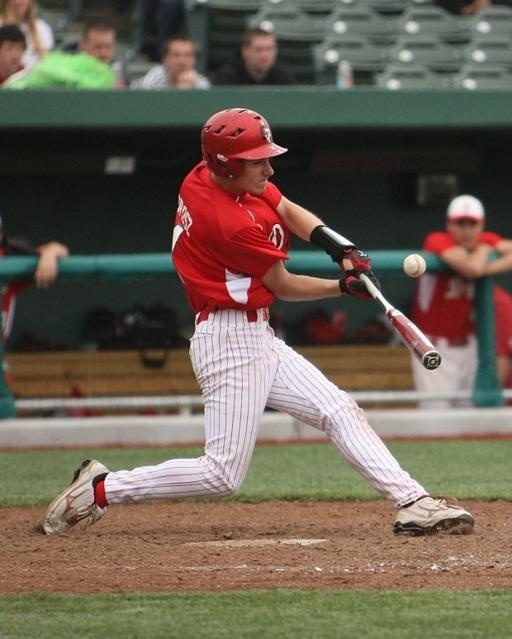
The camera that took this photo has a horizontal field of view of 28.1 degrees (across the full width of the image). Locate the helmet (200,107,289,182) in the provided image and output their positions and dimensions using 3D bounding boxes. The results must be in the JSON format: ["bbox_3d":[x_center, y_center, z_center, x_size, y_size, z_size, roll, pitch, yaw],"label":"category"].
[{"bbox_3d":[-0.055,-0.484,2.780,0.280,0.154,0.187,0,9,14],"label":"helmet"}]

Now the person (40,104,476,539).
[{"bbox_3d":[0.012,0.055,2.927,1.232,1.279,0.431,3,23,6],"label":"person"}]

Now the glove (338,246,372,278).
[{"bbox_3d":[0.278,-0.158,2.911,0.097,0.077,0.067,-22,-17,13],"label":"glove"}]

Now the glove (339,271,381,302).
[{"bbox_3d":[0.288,-0.094,2.826,0.084,0.034,0.104,9,4,-35],"label":"glove"}]

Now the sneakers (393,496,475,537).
[{"bbox_3d":[0.502,0.558,2.891,0.274,0.091,0.090,-2,1,1],"label":"sneakers"}]
